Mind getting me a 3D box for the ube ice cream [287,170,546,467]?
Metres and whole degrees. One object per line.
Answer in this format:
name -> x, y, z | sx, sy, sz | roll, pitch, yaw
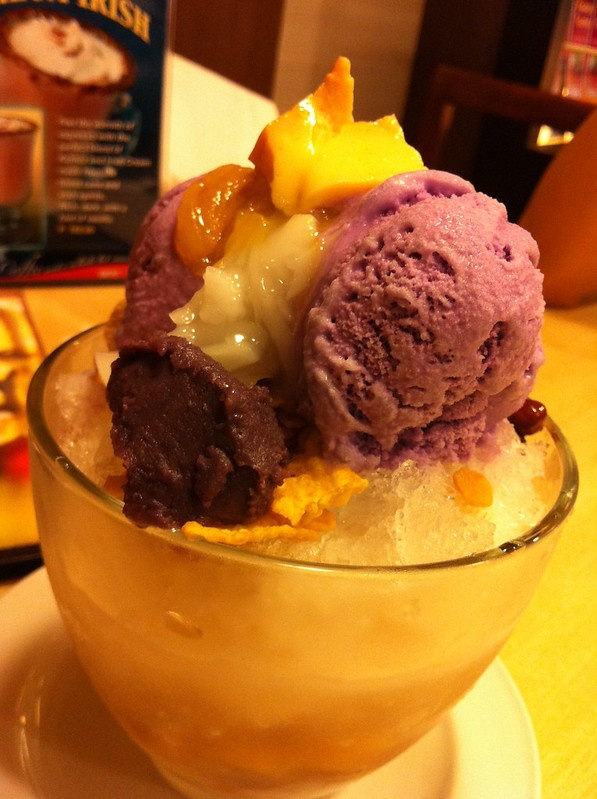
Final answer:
ube ice cream -> 0.063, -0.056, 0.586 | 0.195, 0.190, 0.124 | 8, 9, -6
